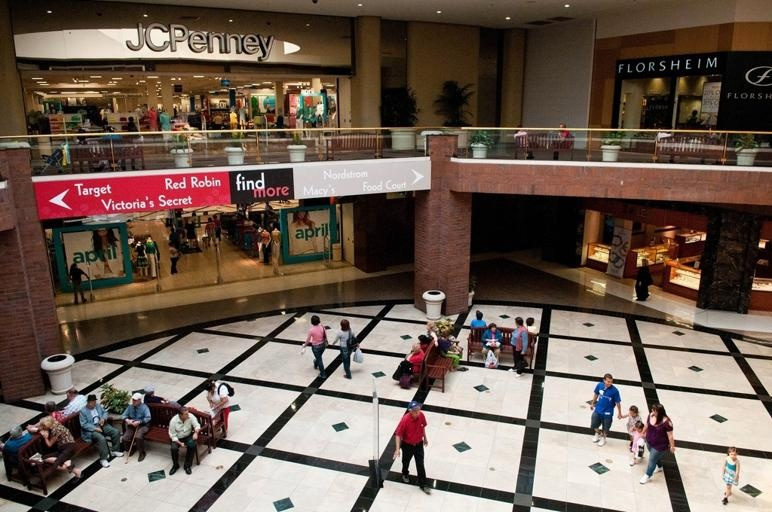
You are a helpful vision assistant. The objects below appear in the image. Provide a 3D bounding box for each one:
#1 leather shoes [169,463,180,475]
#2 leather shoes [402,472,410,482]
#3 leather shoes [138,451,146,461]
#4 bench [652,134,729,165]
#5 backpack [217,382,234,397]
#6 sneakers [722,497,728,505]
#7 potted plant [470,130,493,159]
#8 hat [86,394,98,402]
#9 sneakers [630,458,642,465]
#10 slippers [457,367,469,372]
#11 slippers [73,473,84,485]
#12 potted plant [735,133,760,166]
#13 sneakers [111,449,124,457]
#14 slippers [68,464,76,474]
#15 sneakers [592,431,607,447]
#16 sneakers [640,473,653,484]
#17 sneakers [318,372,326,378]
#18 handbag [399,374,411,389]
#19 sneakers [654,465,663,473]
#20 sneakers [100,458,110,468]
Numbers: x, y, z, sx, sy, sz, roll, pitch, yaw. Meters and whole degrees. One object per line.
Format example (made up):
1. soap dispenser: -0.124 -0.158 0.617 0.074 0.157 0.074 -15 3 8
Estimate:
1. leather shoes: -4.673 4.620 10.664 0.199 0.252 0.256 -8 19 -15
2. leather shoes: 0.425 4.747 10.388 0.081 0.084 0.226 -3 4 -13
3. leather shoes: -5.542 4.553 11.004 0.096 0.079 0.211 2 16 -2
4. bench: 9.200 -3.169 14.647 1.448 0.604 1.066 10 15 39
5. backpack: -3.769 3.175 11.386 0.329 0.378 0.290 -6 19 -7
6. sneakers: 6.932 5.010 9.897 0.070 0.091 0.150 0 6 28
7. potted plant: 3.064 -3.735 16.195 0.904 0.807 0.852 1 23 3
8. hat: -6.569 3.201 10.859 0.251 0.096 0.265 -1 11 -16
9. sneakers: 5.585 4.604 10.845 0.296 0.111 0.103 -1 13 -9
10. slippers: 2.244 3.311 14.105 0.269 0.052 0.123 -6 28 -9
11. slippers: -6.686 4.813 10.481 0.267 0.103 0.174 1 18 14
12. potted plant: 10.609 -3.146 14.181 0.715 0.943 0.733 -11 17 -28
13. sneakers: -6.147 4.514 11.079 0.287 0.103 0.100 2 8 11
14. slippers: -6.835 4.623 10.558 0.170 0.282 0.083 32 44 -13
15. sneakers: 4.993 4.275 11.344 0.270 0.258 0.246 2 19 16
16. sneakers: 5.599 4.763 10.405 0.336 0.120 0.119 -4 9 -39
17. sneakers: -1.794 3.374 13.669 0.134 0.101 0.168 18 -20 23
18. handbag: 0.518 3.391 13.109 0.325 0.353 0.200 16 36 15
19. sneakers: 6.046 4.685 10.685 0.315 0.123 0.102 -3 4 -28
20. sneakers: -6.278 4.632 10.813 0.103 0.102 0.258 -9 11 -43
